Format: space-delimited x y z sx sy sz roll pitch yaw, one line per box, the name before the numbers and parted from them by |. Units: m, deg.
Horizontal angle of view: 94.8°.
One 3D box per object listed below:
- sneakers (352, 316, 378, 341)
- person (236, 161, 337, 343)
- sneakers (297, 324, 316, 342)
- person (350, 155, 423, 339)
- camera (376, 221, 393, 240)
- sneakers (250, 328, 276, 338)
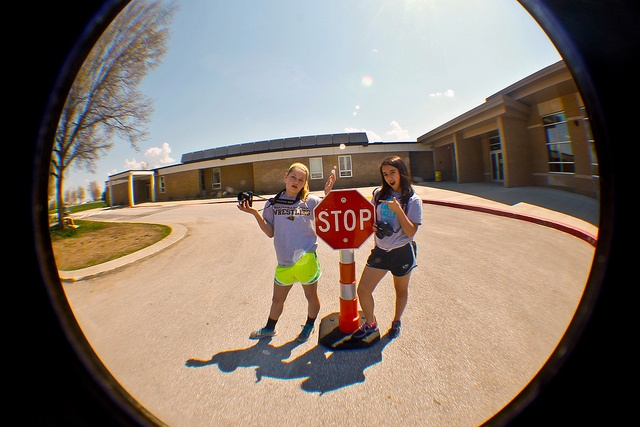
sneakers | 0.501 1.288 3.242 0.312 0.135 0.134 -13 -7 -32
person | -0.348 0.457 3.261 0.779 1.937 0.393 -2 10 3
sneakers | -0.149 1.369 3.299 0.098 0.122 0.257 2 -6 22
person | 0.727 0.412 3.127 0.635 1.940 0.446 1 11 19
camera | 0.654 0.198 2.961 0.167 0.184 0.078 -1 11 11
sneakers | -0.636 1.390 3.345 0.283 0.137 0.119 3 -8 -7
